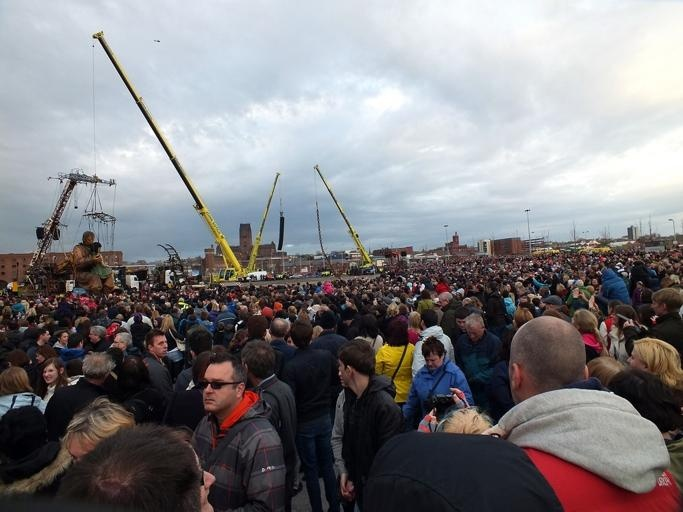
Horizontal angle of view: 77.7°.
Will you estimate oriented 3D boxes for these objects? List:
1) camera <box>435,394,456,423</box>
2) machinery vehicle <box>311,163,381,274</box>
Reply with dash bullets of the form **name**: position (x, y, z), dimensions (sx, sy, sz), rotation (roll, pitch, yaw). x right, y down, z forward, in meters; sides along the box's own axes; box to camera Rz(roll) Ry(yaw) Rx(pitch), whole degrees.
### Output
- **camera**: position (0.990, 1.416, 4.033), dimensions (0.191, 0.236, 0.114), rotation (-3, -1, -8)
- **machinery vehicle**: position (0.773, -4.281, 55.312), dimensions (3.716, 16.330, 4.834), rotation (-46, 17, -33)
